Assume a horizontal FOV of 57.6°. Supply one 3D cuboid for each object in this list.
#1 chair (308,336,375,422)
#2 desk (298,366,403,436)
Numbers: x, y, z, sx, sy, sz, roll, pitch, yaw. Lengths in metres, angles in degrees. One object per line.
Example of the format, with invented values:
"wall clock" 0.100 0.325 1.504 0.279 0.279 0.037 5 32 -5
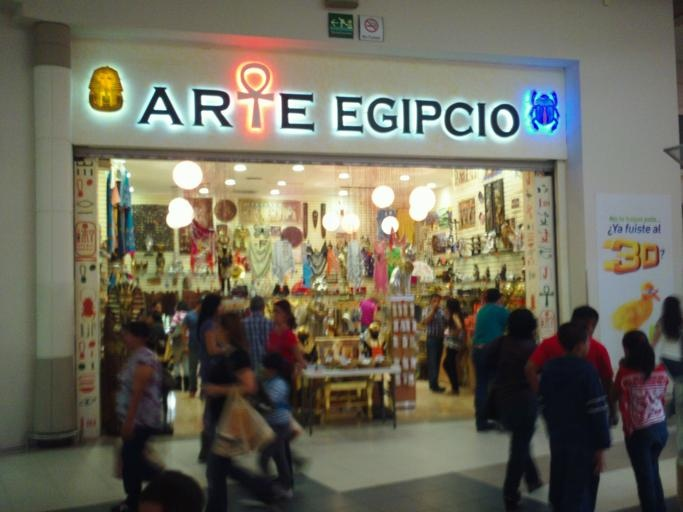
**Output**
"chair" -0.014 1.757 8.710 0.951 1.077 1.563 1 -8 -8
"desk" 0.051 2.034 9.126 1.332 0.846 1.449 1 -8 -13
